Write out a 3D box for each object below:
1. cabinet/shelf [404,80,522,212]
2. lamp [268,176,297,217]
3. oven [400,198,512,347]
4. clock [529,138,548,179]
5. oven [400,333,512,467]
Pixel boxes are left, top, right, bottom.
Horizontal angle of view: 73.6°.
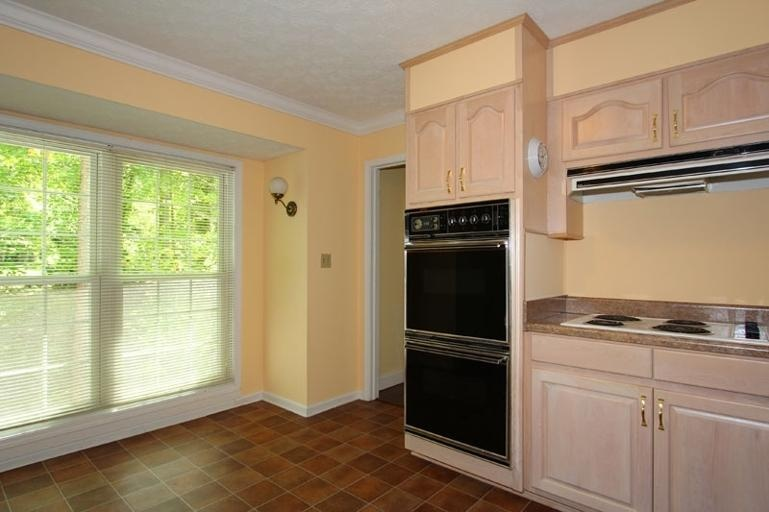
[{"bbox_3d":[0.721,-0.813,4.242,0.415,0.857,1.111,1,0,-45],"label":"cabinet/shelf"},{"bbox_3d":[-1.025,-0.599,5.220,0.262,0.392,0.299,-4,14,-12],"label":"lamp"},{"bbox_3d":[0.743,0.153,4.492,1.190,1.341,0.971,-2,-5,39],"label":"oven"},{"bbox_3d":[1.192,-0.756,3.958,0.088,0.294,0.292,11,17,38],"label":"clock"},{"bbox_3d":[0.791,1.154,4.261,0.820,0.973,1.160,4,-4,-35],"label":"oven"}]
